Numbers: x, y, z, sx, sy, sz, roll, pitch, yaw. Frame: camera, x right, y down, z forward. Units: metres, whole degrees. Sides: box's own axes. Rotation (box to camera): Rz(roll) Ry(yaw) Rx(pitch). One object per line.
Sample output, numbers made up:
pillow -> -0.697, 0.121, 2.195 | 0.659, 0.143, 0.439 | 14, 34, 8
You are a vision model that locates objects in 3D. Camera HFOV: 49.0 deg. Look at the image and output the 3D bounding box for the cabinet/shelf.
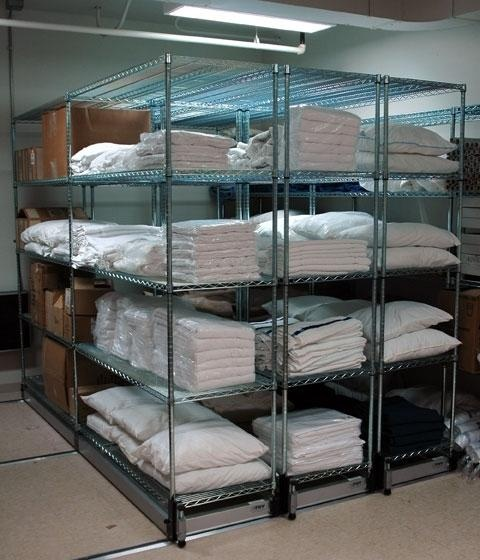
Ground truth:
cabinet/shelf -> -0.146, -0.143, 4.041 | 2.979, 2.486, 3.494 | -2, 2, -40
